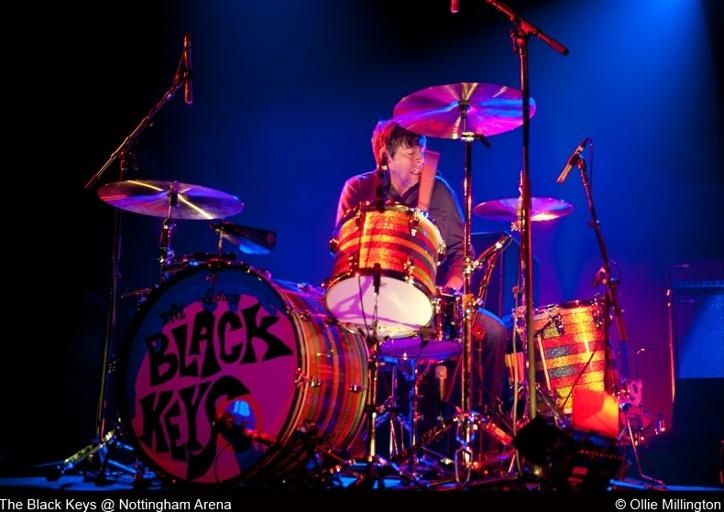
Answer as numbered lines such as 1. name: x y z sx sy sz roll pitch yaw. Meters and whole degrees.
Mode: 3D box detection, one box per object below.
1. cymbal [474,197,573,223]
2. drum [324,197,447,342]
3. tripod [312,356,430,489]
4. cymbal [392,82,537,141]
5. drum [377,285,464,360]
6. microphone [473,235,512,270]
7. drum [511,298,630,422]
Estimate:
1. cymbal: 1.544 -0.441 9.236 0.470 0.062 0.489 -9 -17 35
2. drum: 0.210 0.109 8.204 1.085 0.761 1.041 9 -42 8
3. tripod: 0.102 1.386 8.236 0.896 1.107 1.152 2 -5 3
4. cymbal: 0.835 -1.278 8.460 0.799 0.178 0.766 4 -29 -1
5. drum: 0.493 0.601 8.265 0.666 0.391 0.642 0 -20 0
6. microphone: 1.211 -0.039 9.202 0.383 0.095 0.120 -44 -38 18
7. drum: 1.823 0.935 9.191 1.127 1.060 1.098 -10 -18 14
